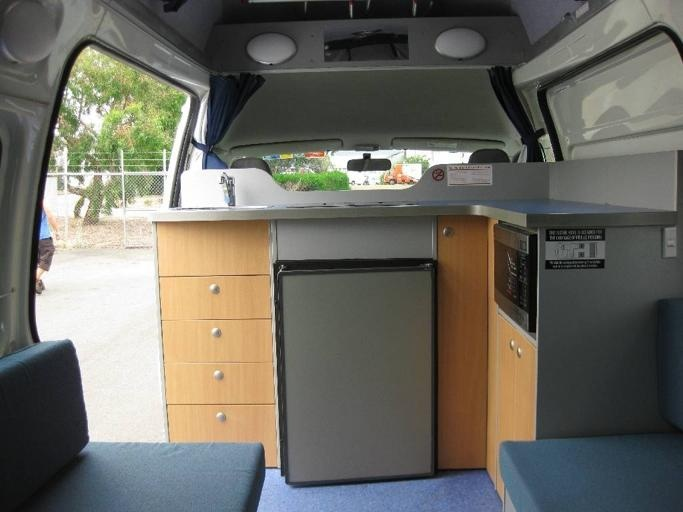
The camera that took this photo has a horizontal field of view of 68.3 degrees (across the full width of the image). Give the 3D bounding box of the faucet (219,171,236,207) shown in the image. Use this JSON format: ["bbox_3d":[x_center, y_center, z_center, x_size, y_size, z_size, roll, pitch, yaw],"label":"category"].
[{"bbox_3d":[-0.644,-0.376,2.842,0.088,0.188,0.109,-3,10,-10],"label":"faucet"}]

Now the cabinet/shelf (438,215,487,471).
[{"bbox_3d":[0.668,0.442,2.606,0.266,1.267,0.255,-1,-2,20],"label":"cabinet/shelf"}]
